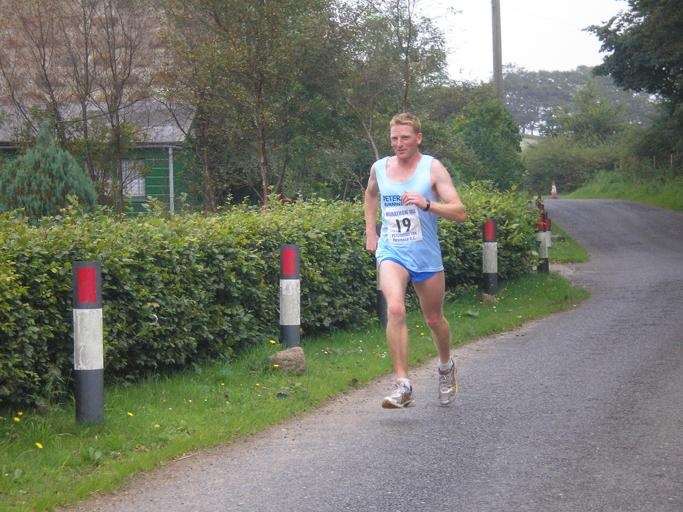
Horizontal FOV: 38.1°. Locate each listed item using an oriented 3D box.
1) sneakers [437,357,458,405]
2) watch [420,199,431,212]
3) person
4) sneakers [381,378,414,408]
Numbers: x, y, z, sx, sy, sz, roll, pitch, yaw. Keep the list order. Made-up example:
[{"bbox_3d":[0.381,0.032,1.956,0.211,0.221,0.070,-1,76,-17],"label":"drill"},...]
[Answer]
[{"bbox_3d":[1.193,1.370,10.884,0.162,0.526,0.231,-4,-20,24],"label":"sneakers"},{"bbox_3d":[0.887,-0.529,10.217,0.038,0.106,0.088,6,3,-15],"label":"watch"},{"bbox_3d":[0.816,0.048,10.689,1.002,3.127,1.206,-1,10,-10],"label":"person"},{"bbox_3d":[0.631,1.453,10.401,0.165,0.243,0.485,-3,-6,28],"label":"sneakers"}]
